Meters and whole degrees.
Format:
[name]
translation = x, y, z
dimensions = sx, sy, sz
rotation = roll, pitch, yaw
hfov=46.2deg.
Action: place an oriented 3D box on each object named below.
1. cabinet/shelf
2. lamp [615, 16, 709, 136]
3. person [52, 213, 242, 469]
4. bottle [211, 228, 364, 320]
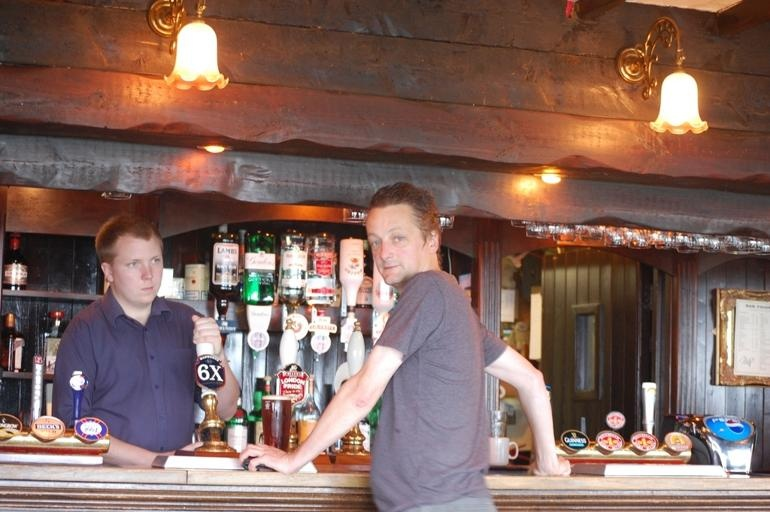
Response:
[cabinet/shelf]
translation = -0.648, 0.369, 4.080
dimensions = 0.989, 1.516, 1.066
rotation = 8, -15, -43
[lamp]
translation = 1.348, -0.867, 4.321
dimensions = 0.380, 0.558, 0.262
rotation = 1, 2, 43
[person]
translation = -1.081, 0.368, 4.158
dimensions = 0.817, 1.118, 0.646
rotation = 4, -7, -13
[bottle]
translation = -0.557, 0.123, 5.100
dimensions = 0.593, 0.399, 0.110
rotation = 1, -4, -11
